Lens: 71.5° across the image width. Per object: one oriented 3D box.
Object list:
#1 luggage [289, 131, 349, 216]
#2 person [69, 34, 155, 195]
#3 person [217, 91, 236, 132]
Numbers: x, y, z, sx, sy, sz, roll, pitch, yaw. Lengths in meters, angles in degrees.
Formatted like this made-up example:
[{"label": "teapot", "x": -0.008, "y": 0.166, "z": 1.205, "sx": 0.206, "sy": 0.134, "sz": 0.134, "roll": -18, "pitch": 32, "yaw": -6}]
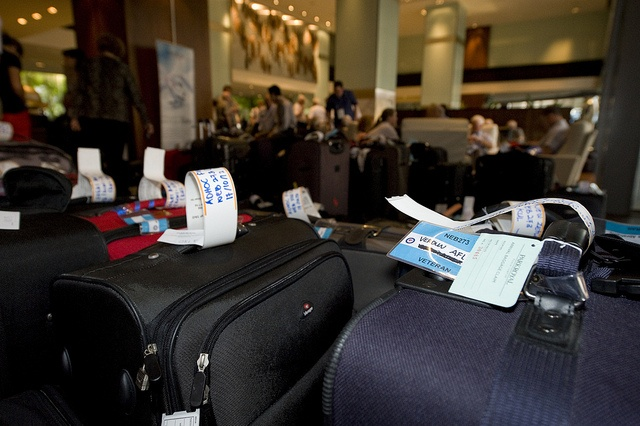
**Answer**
[{"label": "luggage", "x": -0.004, "y": -0.216, "z": 2.919, "sx": 0.423, "sy": 0.529, "sz": 0.291, "roll": -1, "pitch": 16, "yaw": -4}, {"label": "person", "x": -1.696, "y": -0.826, "z": 3.634, "sx": 0.314, "sy": 1.219, "sz": 0.590, "roll": 9, "pitch": 18, "yaw": 31}, {"label": "person", "x": -1.261, "y": -1.428, "z": 6.009, "sx": 0.258, "sy": 0.478, "sz": 1.403, "roll": -3, "pitch": 16, "yaw": -12}]
